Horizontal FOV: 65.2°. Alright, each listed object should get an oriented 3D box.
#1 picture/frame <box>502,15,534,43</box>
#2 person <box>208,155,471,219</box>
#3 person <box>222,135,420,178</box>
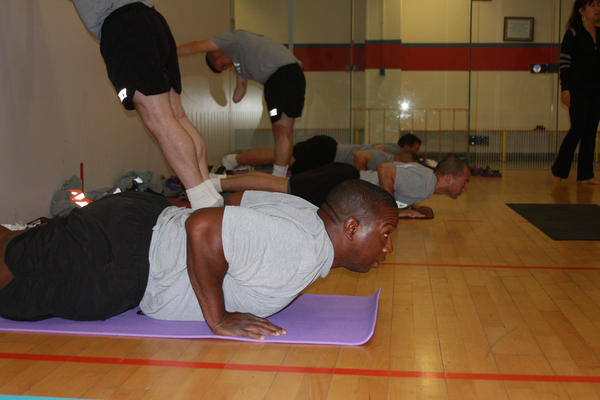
[{"bbox_3d":[3.698,-2.919,7.929,0.425,0.406,0.049,0,7,2],"label":"picture/frame"},{"bbox_3d":[0.277,-0.102,3.039,1.417,0.379,0.467,4,1,-3],"label":"person"},{"bbox_3d":[0.209,-0.374,4.848,2.034,0.599,1.092,1,10,14],"label":"person"}]
